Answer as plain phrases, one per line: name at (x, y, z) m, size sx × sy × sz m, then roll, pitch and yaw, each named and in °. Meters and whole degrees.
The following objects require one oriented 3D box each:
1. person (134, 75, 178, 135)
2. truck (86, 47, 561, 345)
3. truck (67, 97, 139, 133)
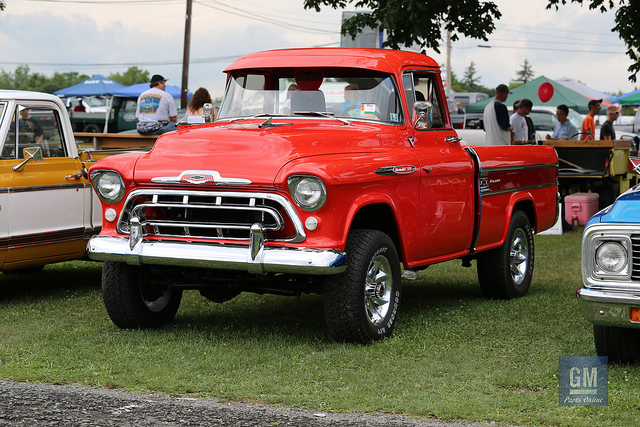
person at (-3.262, -2.174, 14.262) m, size 0.928 × 1.236 × 1.001 m, roll 3°, pitch 9°, yaw 5°
truck at (0.181, -0.335, 8.230) m, size 5.060 × 3.181 × 2.352 m, roll -6°, pitch 10°, yaw -40°
truck at (-9.775, -4.411, 34.300) m, size 4.064 × 1.916 × 1.704 m, roll 5°, pitch -6°, yaw 22°
